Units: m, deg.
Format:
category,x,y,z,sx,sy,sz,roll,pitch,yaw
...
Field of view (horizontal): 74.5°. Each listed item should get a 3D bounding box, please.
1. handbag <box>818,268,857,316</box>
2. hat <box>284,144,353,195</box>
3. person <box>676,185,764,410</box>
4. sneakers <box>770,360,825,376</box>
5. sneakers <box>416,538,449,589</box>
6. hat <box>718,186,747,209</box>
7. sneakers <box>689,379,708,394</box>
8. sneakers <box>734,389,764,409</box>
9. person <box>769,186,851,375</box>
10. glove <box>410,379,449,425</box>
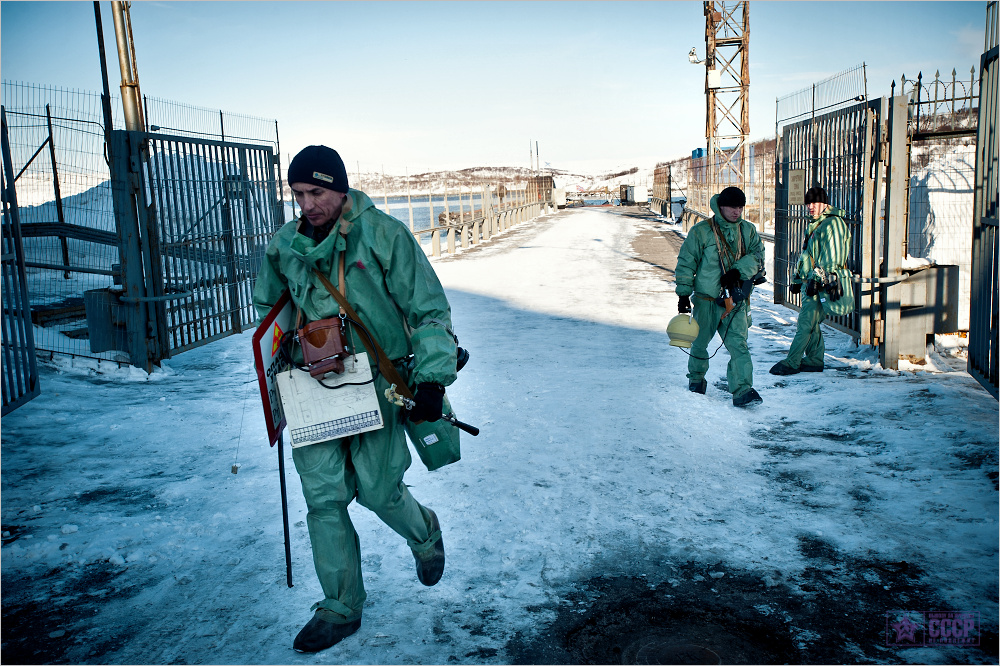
category,x,y,z,sx,sy,sz,roll,pitch,yaw
handbag,4.137,-0.508,8.066,0.448,0.551,0.165,3,1,3
hat,-1.103,-0.982,3.995,0.366,0.292,0.172,-7,13,-13
person,2.484,-0.408,7.337,0.902,2.367,0.704,0,14,20
sneakers,3.724,0.449,8.223,0.695,0.266,0.228,3,7,8
sneakers,-0.448,1.575,4.475,0.150,0.366,0.164,-1,10,6
hat,2.534,-1.456,7.104,0.279,0.232,0.283,-1,12,15
sneakers,2.355,0.630,7.663,0.203,0.176,0.137,-2,-3,-7
sneakers,2.752,0.709,7.165,0.186,0.132,0.287,4,-14,-14
person,3.923,-0.640,8.140,0.950,2.251,0.614,-3,13,9
glove,-0.330,0.405,3.874,0.262,0.242,0.181,22,-25,-32
